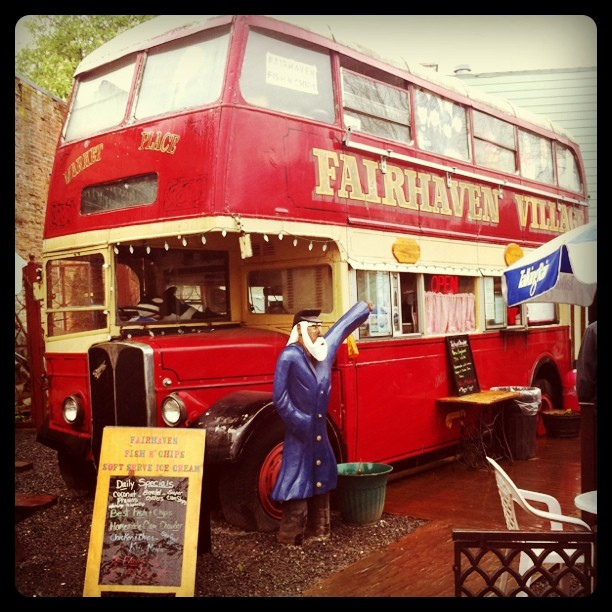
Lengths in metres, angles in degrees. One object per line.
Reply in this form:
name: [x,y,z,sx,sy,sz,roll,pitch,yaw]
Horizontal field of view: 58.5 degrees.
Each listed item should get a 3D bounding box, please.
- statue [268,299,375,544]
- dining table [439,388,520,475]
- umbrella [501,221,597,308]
statue: [0.054,0.930,4.383,0.800,1.941,0.626,-1,-1,-10]
dining table: [2.265,1.762,7.513,0.556,0.861,1.151,-3,-11,23]
umbrella: [2.418,-0.311,5.019,0.745,0.972,0.767,3,9,-23]
